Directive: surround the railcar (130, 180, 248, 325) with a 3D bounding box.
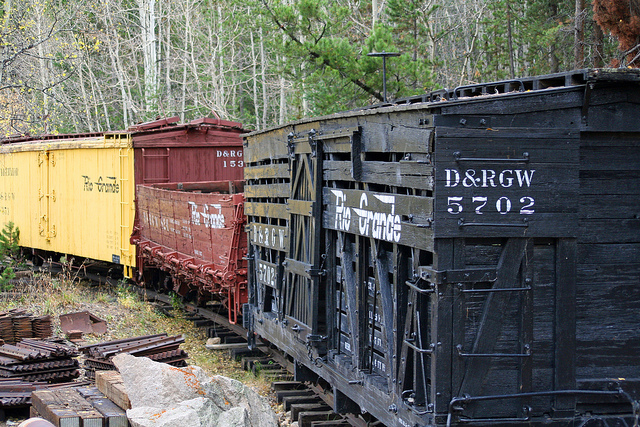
[{"bbox_3d":[-2.818,0.825,22.823,2.735,2.856,6.540,2,5,-31],"label":"railcar"}]
